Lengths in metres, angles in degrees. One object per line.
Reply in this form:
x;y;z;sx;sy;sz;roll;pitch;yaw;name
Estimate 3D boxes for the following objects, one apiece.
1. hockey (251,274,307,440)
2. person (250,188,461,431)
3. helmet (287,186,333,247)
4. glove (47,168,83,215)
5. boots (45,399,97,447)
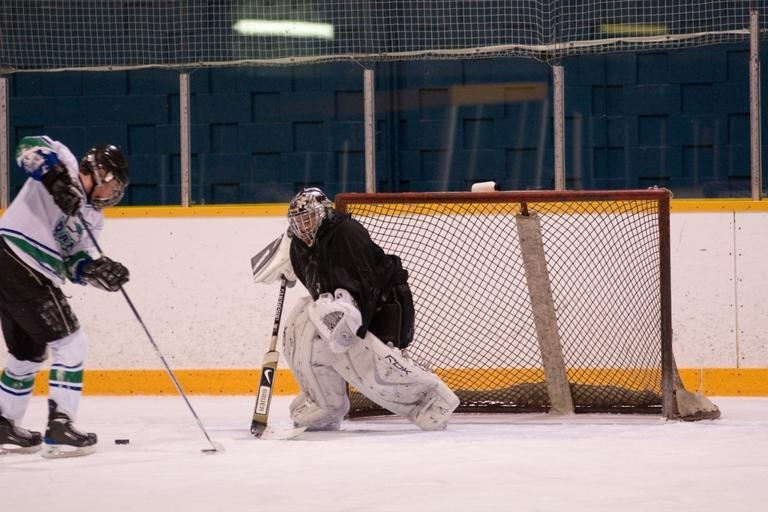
-0.618;0.631;7.198;0.286;0.840;0.319;3;5;42;hockey
-0.251;0.361;7.361;1.653;1.336;0.973;6;2;19;person
-0.429;-0.247;7.257;0.308;0.279;0.275;-19;10;-41;helmet
-1.793;-0.355;6.873;0.176;0.265;0.117;-41;8;-9;glove
-1.777;0.973;6.933;0.127;0.262;0.373;-2;-11;43;boots
